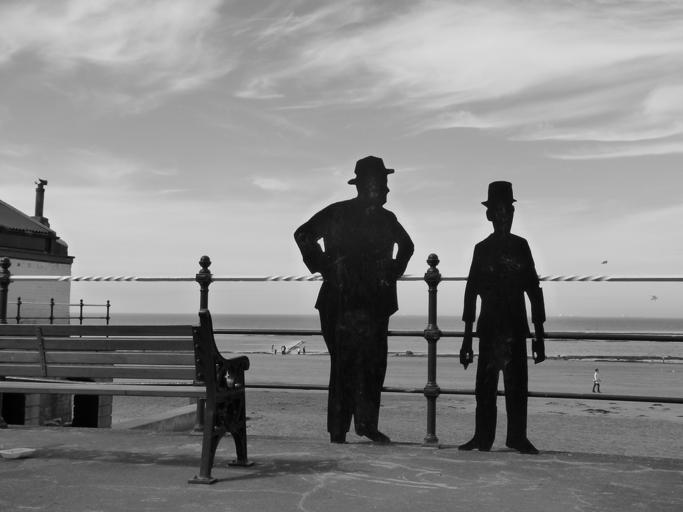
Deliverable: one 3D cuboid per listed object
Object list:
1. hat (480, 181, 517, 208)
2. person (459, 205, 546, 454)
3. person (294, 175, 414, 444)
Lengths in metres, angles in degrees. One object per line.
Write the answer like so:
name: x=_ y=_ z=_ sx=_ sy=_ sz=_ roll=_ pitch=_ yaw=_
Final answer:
hat: x=1.387 y=-0.561 z=9.800 sx=0.252 sy=0.246 sz=0.393 roll=1 pitch=-8 yaw=7
person: x=1.432 y=0.521 z=9.847 sx=0.734 sy=2.371 sz=0.529 roll=1 pitch=-9 yaw=13
person: x=0.120 y=0.440 z=10.083 sx=1.003 sy=2.470 sz=0.396 roll=2 pitch=-9 yaw=3
